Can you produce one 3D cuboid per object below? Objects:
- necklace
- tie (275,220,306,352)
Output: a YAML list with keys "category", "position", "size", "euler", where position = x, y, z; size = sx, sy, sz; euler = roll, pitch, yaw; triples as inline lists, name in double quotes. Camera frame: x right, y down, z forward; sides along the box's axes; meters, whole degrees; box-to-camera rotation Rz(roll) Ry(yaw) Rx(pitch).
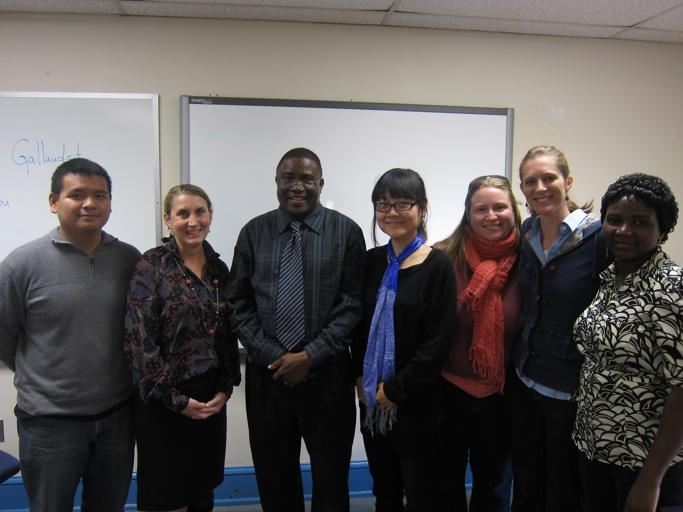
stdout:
- category: "necklace"
  position: [-0.720, 0.200, 2.874]
  size: [0.195, 0.335, 0.083]
  euler: [-14, -3, -38]
- category: "tie"
  position: [-0.243, 0.142, 2.769]
  size: [0.135, 0.605, 0.161]
  euler: [-1, 5, -5]
